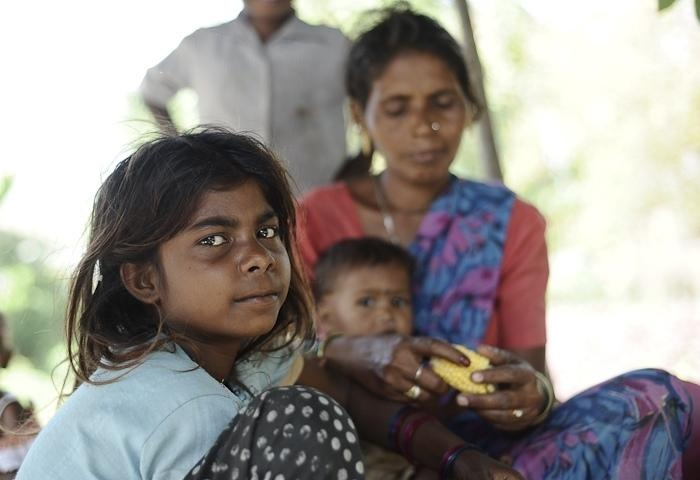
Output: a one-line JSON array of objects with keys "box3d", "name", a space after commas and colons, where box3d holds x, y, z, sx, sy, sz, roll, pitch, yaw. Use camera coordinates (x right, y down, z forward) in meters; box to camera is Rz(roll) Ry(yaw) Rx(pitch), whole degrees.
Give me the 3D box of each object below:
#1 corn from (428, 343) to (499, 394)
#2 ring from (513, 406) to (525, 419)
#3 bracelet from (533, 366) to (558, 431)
[{"box3d": [0.560, 0.621, 4.011, 0.279, 0.229, 0.271, -1, -2, 5], "name": "corn"}, {"box3d": [0.827, 0.836, 3.972, 0.076, 0.041, 0.017, 8, 4, -22], "name": "ring"}, {"box3d": [0.992, 0.794, 4.125, 0.096, 0.264, 0.247, 0, -11, 14], "name": "bracelet"}]
